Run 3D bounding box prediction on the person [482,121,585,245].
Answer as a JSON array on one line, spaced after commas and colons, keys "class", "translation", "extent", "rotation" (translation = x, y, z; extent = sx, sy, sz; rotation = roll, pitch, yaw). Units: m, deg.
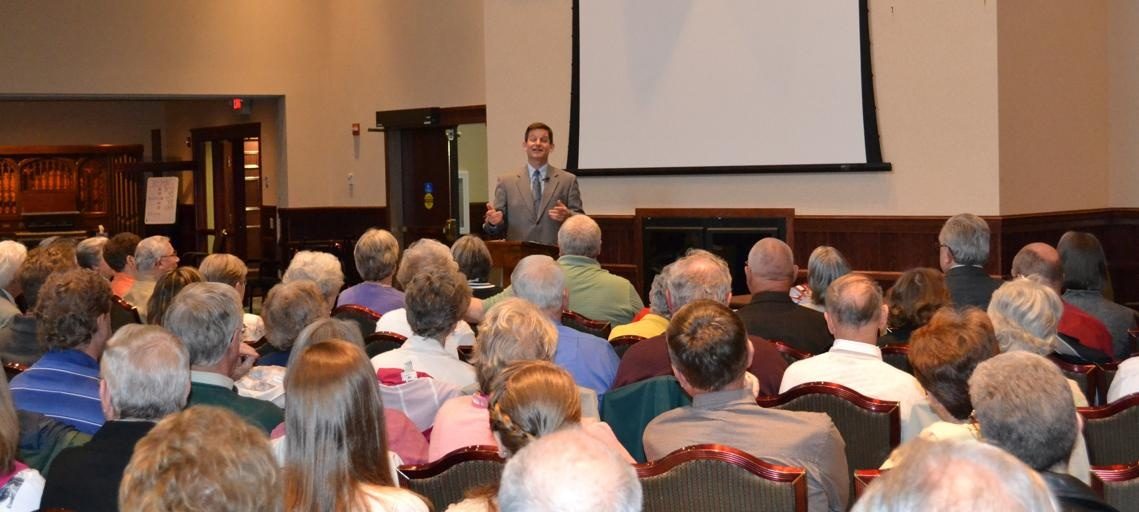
[{"class": "person", "translation": [-0.411, -0.391, 10.060], "extent": [1.242, 2.248, 0.876], "rotation": [0, 5, -4]}]
